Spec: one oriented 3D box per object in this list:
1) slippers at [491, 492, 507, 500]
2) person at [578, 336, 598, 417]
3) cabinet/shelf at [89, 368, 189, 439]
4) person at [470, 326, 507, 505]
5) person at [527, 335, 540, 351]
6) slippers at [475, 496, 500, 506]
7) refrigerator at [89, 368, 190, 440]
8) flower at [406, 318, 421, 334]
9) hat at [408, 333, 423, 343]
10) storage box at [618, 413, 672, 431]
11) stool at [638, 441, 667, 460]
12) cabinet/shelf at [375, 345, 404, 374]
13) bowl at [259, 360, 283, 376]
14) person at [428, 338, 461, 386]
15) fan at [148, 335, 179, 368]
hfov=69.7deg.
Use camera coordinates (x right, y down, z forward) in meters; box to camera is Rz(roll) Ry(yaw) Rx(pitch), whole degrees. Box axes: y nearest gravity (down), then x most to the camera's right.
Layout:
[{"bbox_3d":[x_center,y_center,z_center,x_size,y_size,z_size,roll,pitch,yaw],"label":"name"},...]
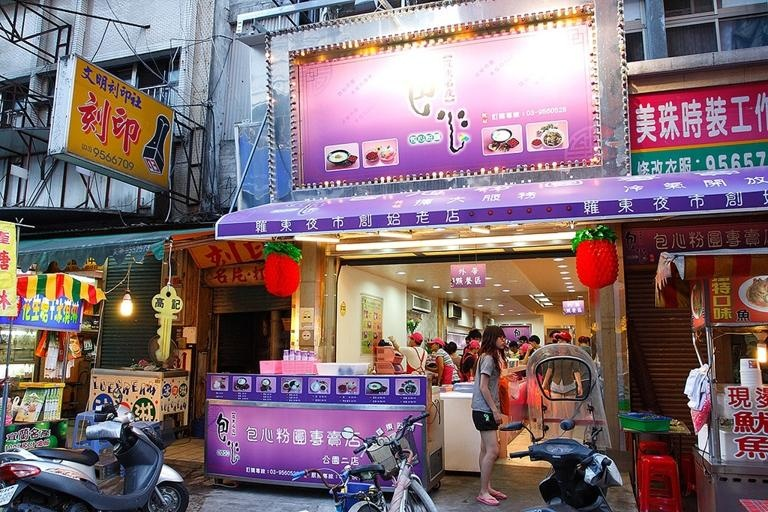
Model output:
[{"bbox_3d":[1.505,3.162,7.240,0.192,0.055,0.099,-8,-12,37],"label":"slippers"},{"bbox_3d":[3.136,1.852,8.448,0.321,1.112,1.628,-4,-10,19],"label":"person"},{"bbox_3d":[-4.084,2.386,9.100,1.490,1.351,0.834,0,-5,11],"label":"cabinet/shelf"},{"bbox_3d":[1.406,2.087,7.316,0.469,2.277,0.599,-2,-9,11],"label":"person"},{"bbox_3d":[3.557,2.077,13.136,0.259,0.380,0.773,-3,-10,14],"label":"person"},{"bbox_3d":[1.334,3.162,7.118,0.110,0.057,0.197,6,-12,-40],"label":"slippers"},{"bbox_3d":[-4.070,2.388,9.087,1.591,1.258,0.886,1,0,15],"label":"refrigerator"},{"bbox_3d":[0.726,1.750,13.729,0.157,0.403,1.107,-3,-10,13],"label":"flower"},{"bbox_3d":[0.624,1.656,11.107,0.244,0.134,0.178,28,14,19],"label":"hat"},{"bbox_3d":[3.264,2.116,6.968,0.357,0.237,0.593,6,-12,-33],"label":"storage box"},{"bbox_3d":[3.436,2.471,7.043,0.230,0.230,0.240,0,-16,-2],"label":"stool"},{"bbox_3d":[0.068,1.905,10.169,0.449,0.489,0.611,-4,-10,17],"label":"cabinet/shelf"},{"bbox_3d":[-1.603,1.623,7.950,0.188,0.146,0.291,-2,-12,6],"label":"bowl"},{"bbox_3d":[1.163,2.419,11.374,0.697,1.401,0.498,-2,-6,21],"label":"person"},{"bbox_3d":[-4.182,1.827,10.431,0.415,0.598,1.175,1,-10,-10],"label":"fan"}]
